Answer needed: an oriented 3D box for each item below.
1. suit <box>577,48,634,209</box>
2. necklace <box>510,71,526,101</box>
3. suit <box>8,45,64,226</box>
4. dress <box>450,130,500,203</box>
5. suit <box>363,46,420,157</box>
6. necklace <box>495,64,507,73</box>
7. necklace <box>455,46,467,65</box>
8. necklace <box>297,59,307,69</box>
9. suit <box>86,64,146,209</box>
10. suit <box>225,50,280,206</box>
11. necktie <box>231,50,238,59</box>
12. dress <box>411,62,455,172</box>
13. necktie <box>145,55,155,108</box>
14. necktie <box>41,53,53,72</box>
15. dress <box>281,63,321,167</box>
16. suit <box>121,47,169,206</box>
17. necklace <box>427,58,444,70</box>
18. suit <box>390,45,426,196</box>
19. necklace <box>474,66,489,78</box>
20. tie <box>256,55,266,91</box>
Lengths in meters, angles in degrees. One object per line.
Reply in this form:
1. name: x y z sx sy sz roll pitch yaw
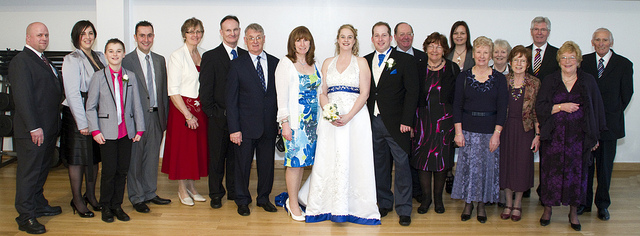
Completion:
1. suit: 7.262 0.346 11.668 1.285 4.127 1.491 1 2 16
2. necklace: 4.856 -0.776 10.991 0.354 0.667 0.162 0 3 18
3. suit: -7.011 0.498 11.256 1.812 3.891 1.356 1 -1 -1
4. dress: 3.837 1.195 11.037 1.160 1.804 0.248 -1 3 9
5. suit: 1.819 -0.541 11.292 1.368 2.263 1.004 1 1 10
6. necklace: 4.514 -1.260 11.232 0.312 0.055 0.277 -11 -17 33
7. necklace: 3.776 -1.671 11.971 0.305 0.439 0.169 -1 3 10
8. necklace: -0.420 -1.315 10.821 0.225 0.216 0.052 -1 3 -1
9. suit: -5.028 0.459 11.191 1.411 3.277 1.205 1 -2 21
10. suit: -1.652 0.277 11.076 1.232 3.762 0.258 -2 3 -5
11. necktie: -2.134 -1.620 11.221 0.121 0.306 0.095 -7 -5 4
12. dress: 2.809 0.046 11.426 1.049 2.465 1.030 3 3 18
13. necktie: -4.256 -0.934 11.251 0.136 1.281 0.153 -4 4 -42
14. necktie: -6.494 -1.319 10.723 0.074 0.481 0.059 -41 1 30
15. dress: -0.418 -0.069 10.876 0.937 2.504 0.186 -2 3 -2
16. suit: -4.493 0.265 11.754 1.323 3.478 1.077 3 -3 -34
17. necklace: 2.854 -1.341 11.027 0.492 0.383 0.098 11 -28 14
18. suit: 2.065 0.150 11.677 1.218 3.524 1.029 2 2 21
19. necklace: 3.964 -1.131 10.945 0.406 0.268 0.077 -6 3 13
20. tie: -1.445 -1.115 11.007 0.215 0.791 0.096 -2 3 -5
